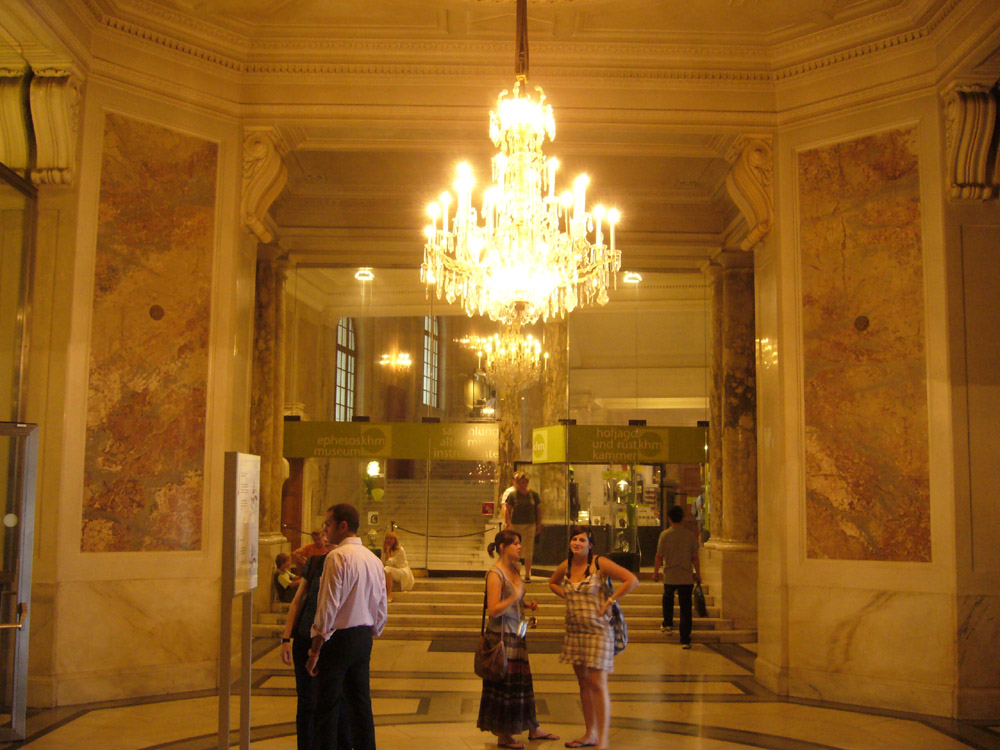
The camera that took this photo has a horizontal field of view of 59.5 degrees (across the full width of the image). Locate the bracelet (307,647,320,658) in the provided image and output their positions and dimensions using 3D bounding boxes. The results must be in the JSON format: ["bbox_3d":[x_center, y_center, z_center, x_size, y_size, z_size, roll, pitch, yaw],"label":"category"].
[{"bbox_3d":[-1.161,1.748,5.503,0.060,0.065,0.108,-2,-14,3],"label":"bracelet"}]

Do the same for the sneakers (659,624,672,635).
[{"bbox_3d":[2.083,3.188,10.946,0.089,0.136,0.095,-5,-13,11],"label":"sneakers"}]

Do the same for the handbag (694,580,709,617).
[{"bbox_3d":[2.623,2.928,11.411,0.188,0.561,0.551,0,-13,4],"label":"handbag"}]

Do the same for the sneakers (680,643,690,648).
[{"bbox_3d":[2.231,3.232,10.473,0.109,0.043,0.127,0,-6,8],"label":"sneakers"}]

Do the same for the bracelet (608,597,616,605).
[{"bbox_3d":[0.845,1.702,6.600,0.059,0.022,0.063,-1,-1,7],"label":"bracelet"}]

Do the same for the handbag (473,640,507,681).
[{"bbox_3d":[-0.057,2.103,6.482,0.239,0.325,0.162,1,-5,1],"label":"handbag"}]
